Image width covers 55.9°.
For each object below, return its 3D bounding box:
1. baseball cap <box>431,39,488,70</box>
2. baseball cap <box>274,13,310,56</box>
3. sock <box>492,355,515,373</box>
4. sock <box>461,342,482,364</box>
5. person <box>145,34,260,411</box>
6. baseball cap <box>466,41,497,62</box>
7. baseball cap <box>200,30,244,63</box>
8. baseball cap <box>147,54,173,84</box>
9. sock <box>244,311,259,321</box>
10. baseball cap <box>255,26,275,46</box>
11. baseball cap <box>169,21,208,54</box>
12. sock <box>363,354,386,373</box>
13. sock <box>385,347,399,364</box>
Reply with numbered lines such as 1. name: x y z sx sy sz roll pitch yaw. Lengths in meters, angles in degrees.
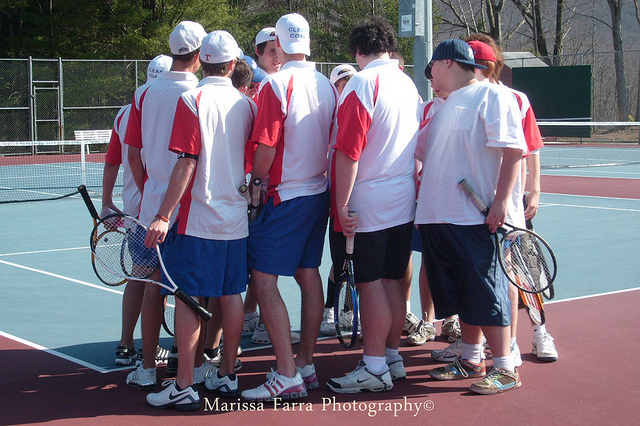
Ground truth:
1. baseball cap: 1.187 -1.330 5.025 0.477 0.256 0.307 17 5 43
2. baseball cap: -0.240 -1.515 5.134 0.233 0.375 0.192 -6 -33 -22
3. sock: 1.494 1.234 4.916 0.102 0.161 0.153 1 -3 3
4. sock: 1.293 1.185 5.219 0.171 0.247 0.161 6 -4 5
5. person: -0.965 0.020 4.906 0.971 2.948 0.654 -5 7 -25
6. baseball cap: 1.396 -1.371 5.215 0.167 0.129 0.239 30 27 35
7. baseball cap: -0.828 -1.347 4.910 0.311 0.270 0.208 -3 6 -11
8. baseball cap: -1.548 -1.386 5.772 0.227 0.327 0.544 -4 6 -15
9. sock: -0.730 1.089 6.348 0.149 0.094 0.115 5 -4 -8
10. baseball cap: -0.579 -1.844 6.251 0.172 0.194 0.308 -3 6 -11
11. baseball cap: -1.107 -1.445 5.050 0.216 0.160 0.328 -6 42 18
12. sock: 0.447 1.247 4.985 0.165 0.142 0.054 -2 6 3
13. sock: 0.621 1.233 5.244 0.111 0.105 0.045 -3 6 -9
